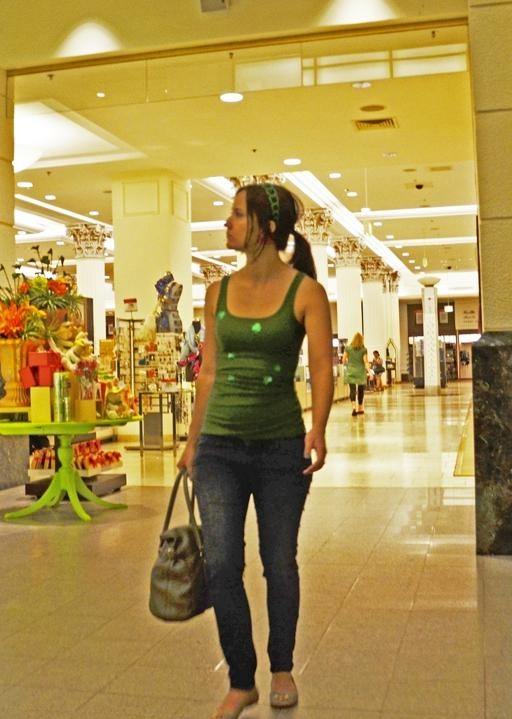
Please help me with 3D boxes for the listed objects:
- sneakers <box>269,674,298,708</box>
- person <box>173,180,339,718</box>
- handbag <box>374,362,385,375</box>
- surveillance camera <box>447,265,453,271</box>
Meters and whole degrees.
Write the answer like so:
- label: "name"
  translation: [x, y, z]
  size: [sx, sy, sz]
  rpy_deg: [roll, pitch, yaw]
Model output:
- label: "sneakers"
  translation: [0.064, 0.718, 1.183]
  size: [0.039, 0.046, 0.113]
  rpy_deg: [0, -18, 1]
- label: "person"
  translation: [0.003, 0.179, 1.174]
  size: [0.334, 1.172, 0.288]
  rpy_deg: [0, -8, -9]
- label: "handbag"
  translation: [5.490, 0.423, 24.529]
  size: [0.381, 0.489, 0.287]
  rpy_deg: [-16, -24, -11]
- label: "surveillance camera"
  translation: [11.242, -5.329, 31.833]
  size: [0.251, 0.258, 0.163]
  rpy_deg: [0, 1, -7]
